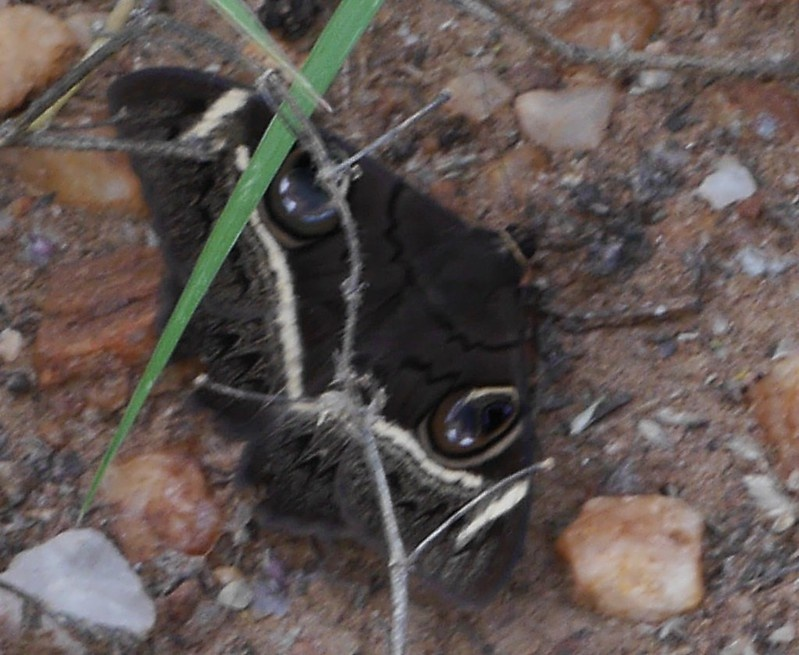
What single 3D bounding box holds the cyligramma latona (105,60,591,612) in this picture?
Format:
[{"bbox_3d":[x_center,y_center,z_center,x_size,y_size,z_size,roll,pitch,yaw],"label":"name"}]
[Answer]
[{"bbox_3d":[-0.114,0.009,1.316,0.752,0.147,0.474,30,86,5],"label":"cyligramma latona"}]
